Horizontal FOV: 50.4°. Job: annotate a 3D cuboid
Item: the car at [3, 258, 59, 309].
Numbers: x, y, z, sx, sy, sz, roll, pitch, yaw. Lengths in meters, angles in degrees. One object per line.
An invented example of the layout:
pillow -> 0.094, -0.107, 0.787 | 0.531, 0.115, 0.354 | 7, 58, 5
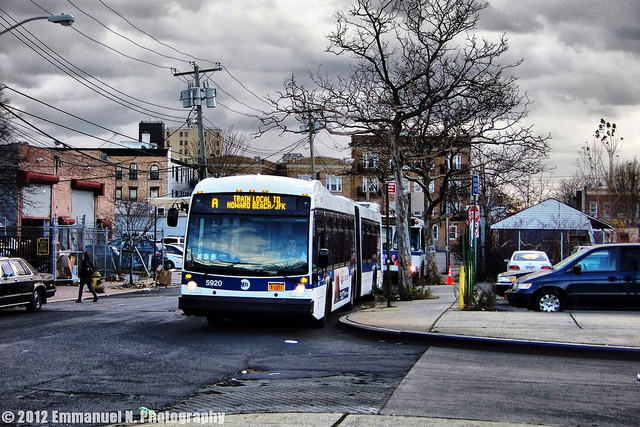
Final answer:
car -> -10.518, 2.470, 24.141 | 0.685, 1.666, 2.706 | -1, -4, 18

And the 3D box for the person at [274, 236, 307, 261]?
person -> -0.744, 0.913, 18.091 | 0.530, 0.770, 0.248 | 1, 4, 3

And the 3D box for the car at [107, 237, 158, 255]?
car -> -13.063, 2.507, 47.288 | 2.534, 1.400, 1.550 | 3, -1, 4

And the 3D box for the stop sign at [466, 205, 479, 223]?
stop sign -> 5.171, -0.014, 22.938 | 0.345, 0.588, 1.141 | 0, -4, 11

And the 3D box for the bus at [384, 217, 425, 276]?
bus -> 4.016, 1.647, 35.381 | 1.778, 2.323, 5.051 | -1, -6, 15
